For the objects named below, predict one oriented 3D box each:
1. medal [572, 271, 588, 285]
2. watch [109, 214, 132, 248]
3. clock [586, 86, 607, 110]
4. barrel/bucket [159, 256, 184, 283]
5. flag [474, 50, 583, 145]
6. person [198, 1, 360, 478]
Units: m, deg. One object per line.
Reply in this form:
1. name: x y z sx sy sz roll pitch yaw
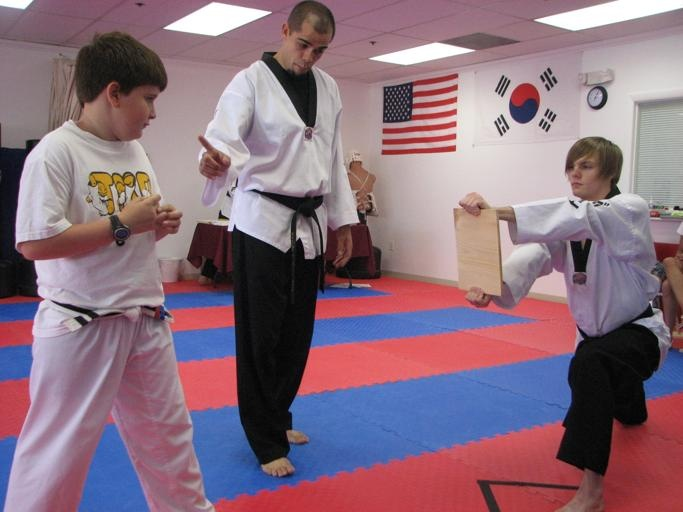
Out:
1. medal: 1.271 0.116 2.696 0.084 0.091 0.052 1 3 24
2. watch: -0.742 -0.102 1.715 0.060 0.101 0.092 -31 34 -5
3. clock: 3.517 -2.176 6.948 0.256 0.338 0.105 5 7 31
4. barrel/bucket: -2.783 0.219 8.367 0.452 0.454 0.565 0 -2 5
5. flag: 2.793 -2.362 7.713 0.058 1.271 1.687 -5 9 -44
6. person: -0.302 -0.087 2.683 0.937 2.447 0.557 -2 7 -26
